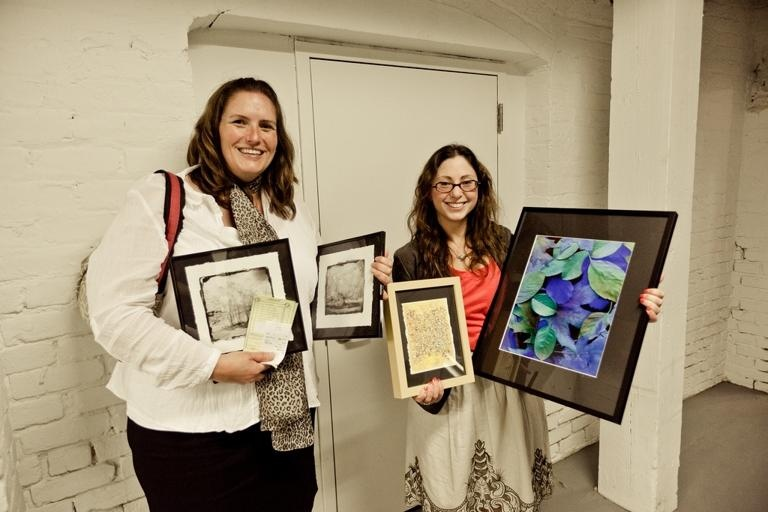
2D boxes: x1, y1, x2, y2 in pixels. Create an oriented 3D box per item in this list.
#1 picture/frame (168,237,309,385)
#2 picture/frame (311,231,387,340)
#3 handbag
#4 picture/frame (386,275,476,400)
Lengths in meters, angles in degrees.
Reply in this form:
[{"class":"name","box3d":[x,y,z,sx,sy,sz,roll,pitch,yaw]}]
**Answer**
[{"class":"picture/frame","box3d":[-0.590,0.182,2.288,0.634,0.119,0.669,12,53,0]},{"class":"picture/frame","box3d":[-0.162,0.148,2.589,0.454,0.544,0.041,-5,-8,17]},{"class":"handbag","box3d":[-1.143,0.146,2.512,0.310,0.451,0.424,3,4,44]},{"class":"picture/frame","box3d":[0.201,0.358,2.573,0.366,0.502,0.175,-6,9,-13]}]
